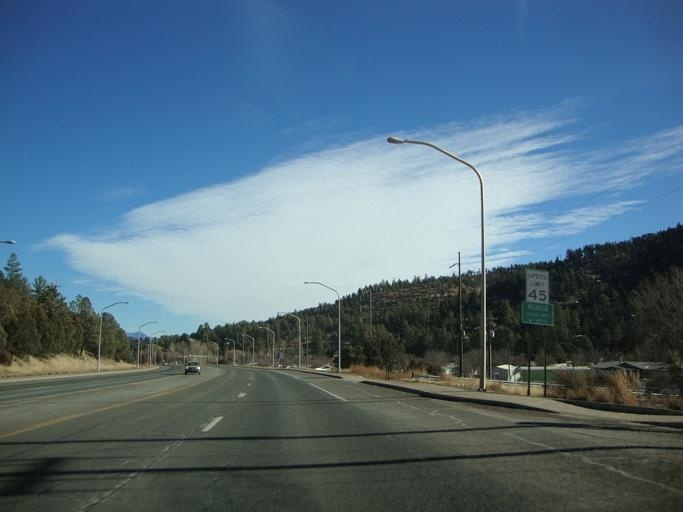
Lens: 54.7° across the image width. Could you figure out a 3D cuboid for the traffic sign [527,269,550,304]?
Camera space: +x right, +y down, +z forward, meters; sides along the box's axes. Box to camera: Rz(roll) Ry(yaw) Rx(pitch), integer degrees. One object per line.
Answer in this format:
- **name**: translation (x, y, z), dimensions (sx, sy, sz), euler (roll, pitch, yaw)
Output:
- **traffic sign**: translation (8.598, 1.387, 29.049), dimensions (1.151, 1.706, 0.168), euler (4, -7, -23)
